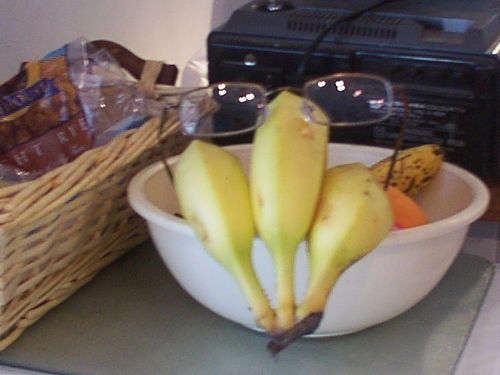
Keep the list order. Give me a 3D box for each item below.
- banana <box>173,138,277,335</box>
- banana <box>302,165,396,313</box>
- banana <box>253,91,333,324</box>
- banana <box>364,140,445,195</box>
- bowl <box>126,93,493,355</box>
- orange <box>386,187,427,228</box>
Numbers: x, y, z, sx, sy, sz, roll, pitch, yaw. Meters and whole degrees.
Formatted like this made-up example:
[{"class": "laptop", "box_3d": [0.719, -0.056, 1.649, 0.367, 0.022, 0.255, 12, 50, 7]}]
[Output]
[{"class": "banana", "box_3d": [-0.014, 0.037, 0.344, 0.054, 0.047, 0.176, -24, 53, 0]}, {"class": "banana", "box_3d": [0.074, 0.041, 0.370, 0.065, 0.111, 0.043, 23, -7, -17]}, {"class": "banana", "box_3d": [0.040, 0.009, 0.359, 0.056, 0.052, 0.199, 2, 76, 9]}, {"class": "banana", "box_3d": [0.168, -0.016, 0.491, 0.109, 0.047, 0.060, -7, 64, 5]}, {"class": "bowl", "box_3d": [0.058, 0.042, 0.418, 0.294, 0.168, 0.293, -1, 16, 0]}, {"class": "orange", "box_3d": [0.150, 0.023, 0.425, 0.024, 0.042, 0.042, -38, 87, -12]}]
